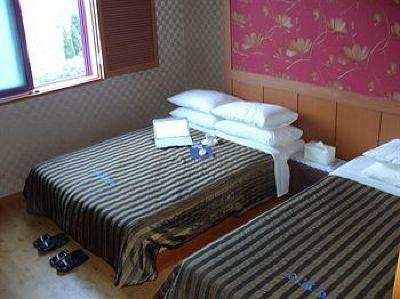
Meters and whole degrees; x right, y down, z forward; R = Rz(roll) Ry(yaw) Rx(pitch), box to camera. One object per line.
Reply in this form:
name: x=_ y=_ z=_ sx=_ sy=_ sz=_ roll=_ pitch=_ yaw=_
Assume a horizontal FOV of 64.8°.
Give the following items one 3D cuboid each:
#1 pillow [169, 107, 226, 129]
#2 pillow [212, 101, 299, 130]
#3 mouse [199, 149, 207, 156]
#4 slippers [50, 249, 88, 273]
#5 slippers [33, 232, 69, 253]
pillow: x=-0.055 y=-0.459 z=4.334 sx=0.562 sy=0.144 sz=0.328 roll=22 pitch=33 yaw=29
pillow: x=0.729 y=-0.475 z=3.893 sx=0.677 sy=0.200 sz=0.426 roll=13 pitch=31 yaw=40
mouse: x=0.038 y=0.029 z=3.619 sx=0.064 sy=0.071 sz=0.086 roll=17 pitch=40 yaw=21
slippers: x=-1.267 y=1.091 z=3.101 sx=0.176 sy=0.069 sz=0.243 roll=20 pitch=28 yaw=38
slippers: x=-1.558 y=0.979 z=3.322 sx=0.174 sy=0.076 sz=0.240 roll=19 pitch=25 yaw=40
